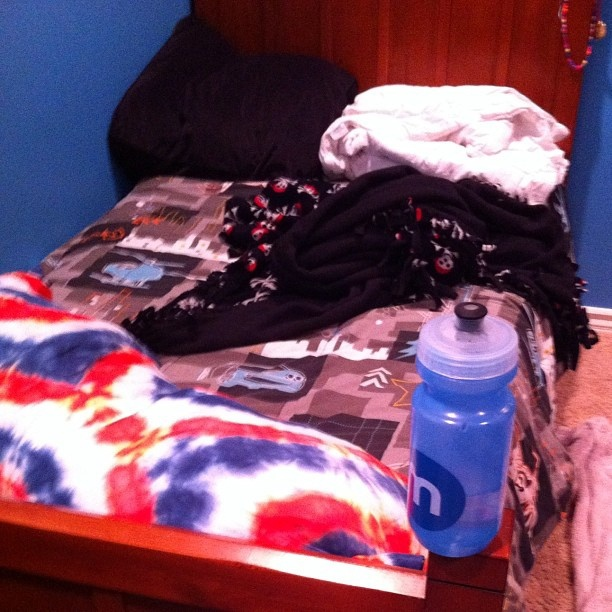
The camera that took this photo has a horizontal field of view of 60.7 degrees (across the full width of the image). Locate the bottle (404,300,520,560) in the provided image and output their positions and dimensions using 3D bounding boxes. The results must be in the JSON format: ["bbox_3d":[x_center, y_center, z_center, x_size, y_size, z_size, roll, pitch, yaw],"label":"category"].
[{"bbox_3d":[0.113,0.088,0.380,0.071,0.173,0.114,4,31,12],"label":"bottle"}]
